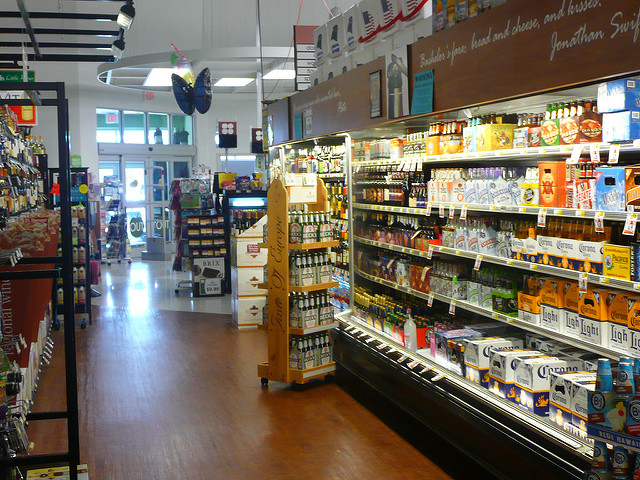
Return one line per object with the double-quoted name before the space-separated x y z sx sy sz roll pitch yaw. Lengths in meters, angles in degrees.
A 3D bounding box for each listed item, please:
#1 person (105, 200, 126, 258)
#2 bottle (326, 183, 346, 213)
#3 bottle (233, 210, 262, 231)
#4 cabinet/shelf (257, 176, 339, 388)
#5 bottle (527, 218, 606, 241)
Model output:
"person" -6.199 -0.300 15.996 0.604 1.802 0.626 -5 7 -20
"bottle" 0.215 -0.554 7.023 0.250 0.521 0.380 -3 6 -27
"bottle" -1.449 -0.396 10.577 0.387 0.370 0.202 2 4 44
"cabinet/shelf" -0.274 0.479 6.069 0.997 2.441 0.557 -5 6 -13
"bottle" 1.812 -0.087 3.868 0.192 0.126 0.586 -6 8 -22
